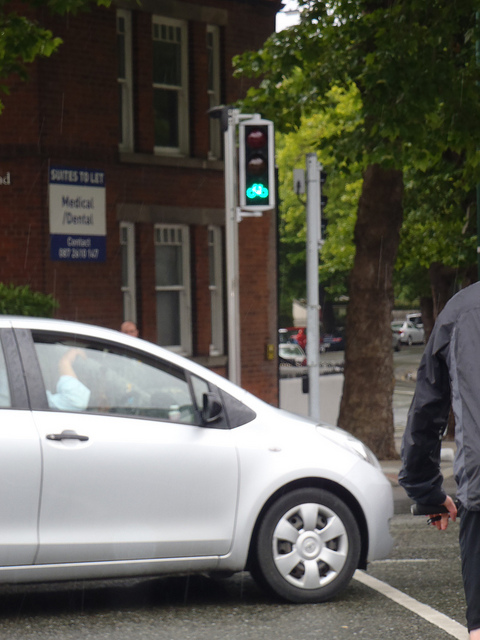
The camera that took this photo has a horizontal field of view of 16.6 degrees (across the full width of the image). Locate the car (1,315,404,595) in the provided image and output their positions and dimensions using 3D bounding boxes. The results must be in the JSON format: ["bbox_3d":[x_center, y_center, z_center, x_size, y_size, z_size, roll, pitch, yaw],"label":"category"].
[{"bbox_3d":[-0.289,0.856,10.375,2.209,1.311,1.288,-1,-5,-15],"label":"car"}]

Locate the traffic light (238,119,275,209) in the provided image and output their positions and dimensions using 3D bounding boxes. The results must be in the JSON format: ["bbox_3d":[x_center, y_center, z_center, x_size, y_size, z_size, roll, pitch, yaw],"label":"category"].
[{"bbox_3d":[0.141,-1.274,13.614,0.278,1.022,0.165,-2,-35,2],"label":"traffic light"}]

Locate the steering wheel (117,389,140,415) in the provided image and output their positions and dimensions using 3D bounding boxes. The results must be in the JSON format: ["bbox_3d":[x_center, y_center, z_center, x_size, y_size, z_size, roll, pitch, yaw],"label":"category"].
[{"bbox_3d":[-0.678,0.504,9.992,0.094,0.158,0.036,24,-20,-19],"label":"steering wheel"}]

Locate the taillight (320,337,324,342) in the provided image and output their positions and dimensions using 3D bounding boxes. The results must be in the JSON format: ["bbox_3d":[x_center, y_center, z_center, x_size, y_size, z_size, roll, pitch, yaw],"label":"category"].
[{"bbox_3d":[2.349,0.580,47.139,0.080,0.142,0.104,4,6,41],"label":"taillight"}]
